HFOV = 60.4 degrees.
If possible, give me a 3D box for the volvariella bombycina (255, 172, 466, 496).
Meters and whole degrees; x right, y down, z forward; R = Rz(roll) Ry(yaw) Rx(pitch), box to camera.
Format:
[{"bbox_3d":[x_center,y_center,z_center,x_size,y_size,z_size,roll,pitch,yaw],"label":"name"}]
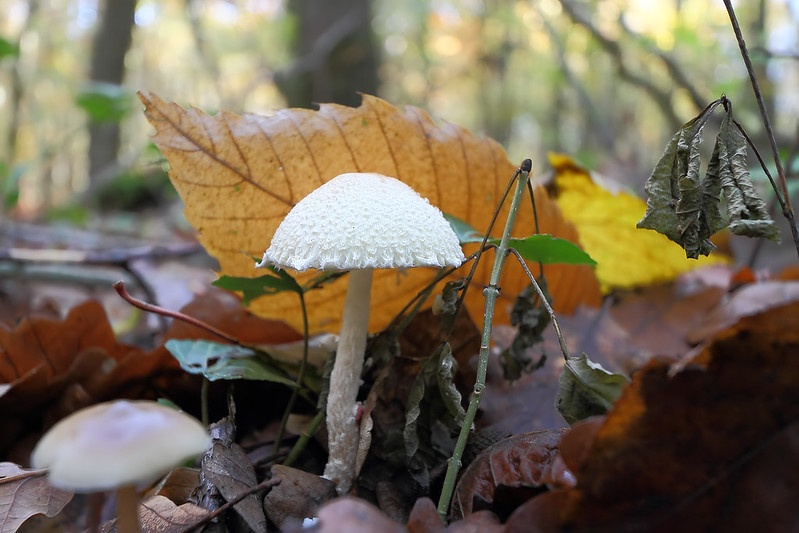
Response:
[{"bbox_3d":[-0.116,0.164,2.353,0.559,1.110,0.941,2,-10,-5],"label":"volvariella bombycina"}]
